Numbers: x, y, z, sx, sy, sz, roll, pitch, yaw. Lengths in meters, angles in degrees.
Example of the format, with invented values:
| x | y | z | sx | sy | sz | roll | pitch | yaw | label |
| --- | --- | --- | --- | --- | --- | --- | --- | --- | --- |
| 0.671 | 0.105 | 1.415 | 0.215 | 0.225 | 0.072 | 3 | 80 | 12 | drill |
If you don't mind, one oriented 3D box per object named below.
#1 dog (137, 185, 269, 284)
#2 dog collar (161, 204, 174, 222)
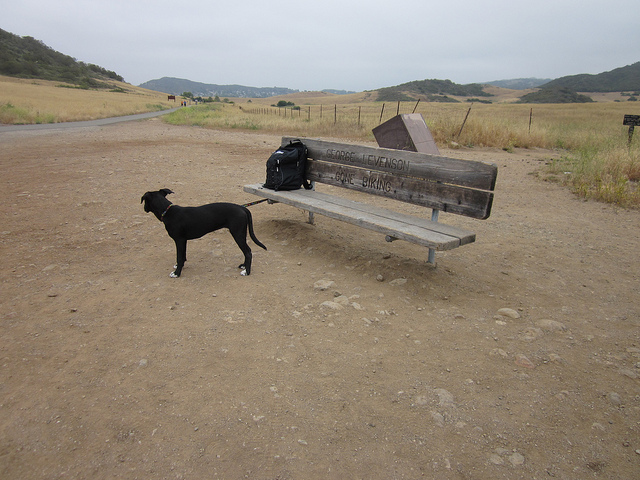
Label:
| x | y | z | sx | sy | sz | roll | pitch | yaw | label |
| --- | --- | --- | --- | --- | --- | --- | --- | --- | --- |
| -1.748 | -0.123 | 5.871 | 1.812 | 1.187 | 0.592 | 3 | 15 | -3 | dog |
| -2.168 | -0.392 | 5.629 | 0.067 | 0.199 | 0.180 | 34 | 19 | 5 | dog collar |
